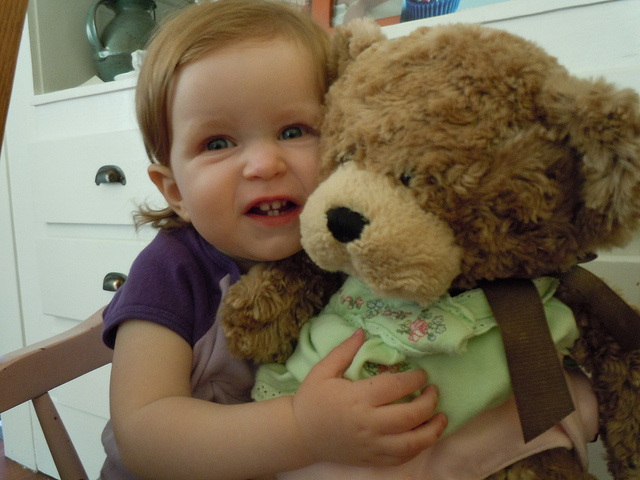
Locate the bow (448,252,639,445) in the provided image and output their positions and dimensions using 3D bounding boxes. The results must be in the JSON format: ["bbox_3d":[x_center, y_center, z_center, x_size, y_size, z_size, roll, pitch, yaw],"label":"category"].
[{"bbox_3d":[0.332,0.152,0.970,0.247,0.273,0.289,58,33,4],"label":"bow"}]
